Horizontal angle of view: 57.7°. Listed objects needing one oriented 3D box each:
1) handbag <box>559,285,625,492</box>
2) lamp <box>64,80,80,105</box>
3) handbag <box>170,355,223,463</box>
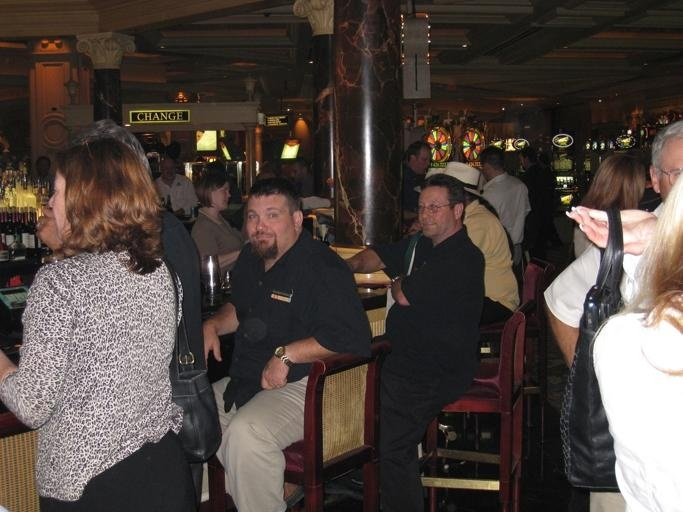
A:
[{"bbox_3d":[0.722,0.431,1.730,0.169,0.618,0.221,1,11,9],"label":"handbag"},{"bbox_3d":[-5.363,-3.265,12.353,0.256,0.460,0.826,-5,12,-22],"label":"lamp"},{"bbox_3d":[-0.511,0.540,2.170,0.120,0.394,0.147,8,14,38],"label":"handbag"}]
